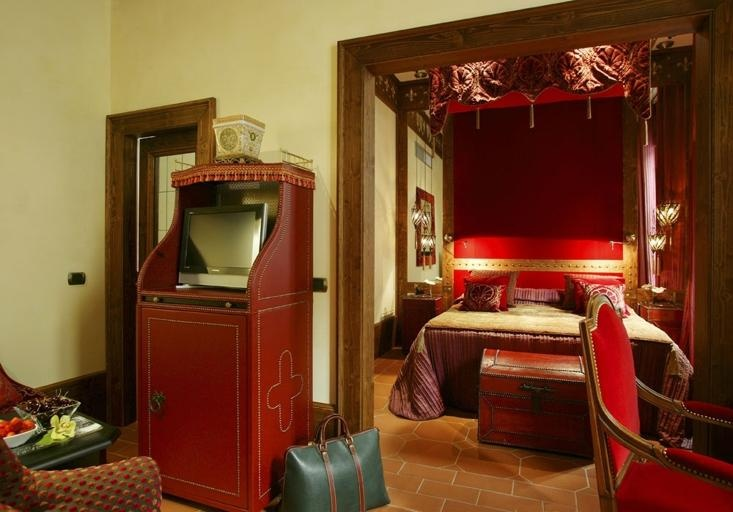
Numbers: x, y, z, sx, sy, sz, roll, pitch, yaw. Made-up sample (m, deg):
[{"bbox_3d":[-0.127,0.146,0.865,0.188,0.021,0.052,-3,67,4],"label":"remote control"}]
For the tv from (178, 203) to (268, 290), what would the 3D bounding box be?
[{"bbox_3d":[-1.036,-0.067,4.066,0.814,0.648,0.108,0,-1,31],"label":"tv"}]

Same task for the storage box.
[{"bbox_3d":[1.444,1.255,4.804,0.939,0.657,0.537,5,12,14],"label":"storage box"}]

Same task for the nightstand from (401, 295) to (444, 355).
[{"bbox_3d":[0.750,0.908,7.506,0.408,0.727,0.484,4,3,17],"label":"nightstand"}]

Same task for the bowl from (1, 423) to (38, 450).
[{"bbox_3d":[-2.024,1.064,3.249,0.156,0.062,0.161,-2,1,0],"label":"bowl"}]

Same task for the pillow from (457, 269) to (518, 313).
[{"bbox_3d":[1.436,0.391,6.587,0.603,0.455,0.453,7,2,26],"label":"pillow"}]

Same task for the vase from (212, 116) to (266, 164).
[{"bbox_3d":[-1.001,-0.835,4.235,0.357,0.373,0.314,-1,-1,33],"label":"vase"}]

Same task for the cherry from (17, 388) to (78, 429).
[{"bbox_3d":[-2.014,0.967,3.534,0.293,0.136,0.324,2,-3,31],"label":"cherry"}]

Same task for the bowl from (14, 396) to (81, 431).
[{"bbox_3d":[-2.014,0.954,3.560,0.371,0.172,0.341,5,0,0],"label":"bowl"}]
